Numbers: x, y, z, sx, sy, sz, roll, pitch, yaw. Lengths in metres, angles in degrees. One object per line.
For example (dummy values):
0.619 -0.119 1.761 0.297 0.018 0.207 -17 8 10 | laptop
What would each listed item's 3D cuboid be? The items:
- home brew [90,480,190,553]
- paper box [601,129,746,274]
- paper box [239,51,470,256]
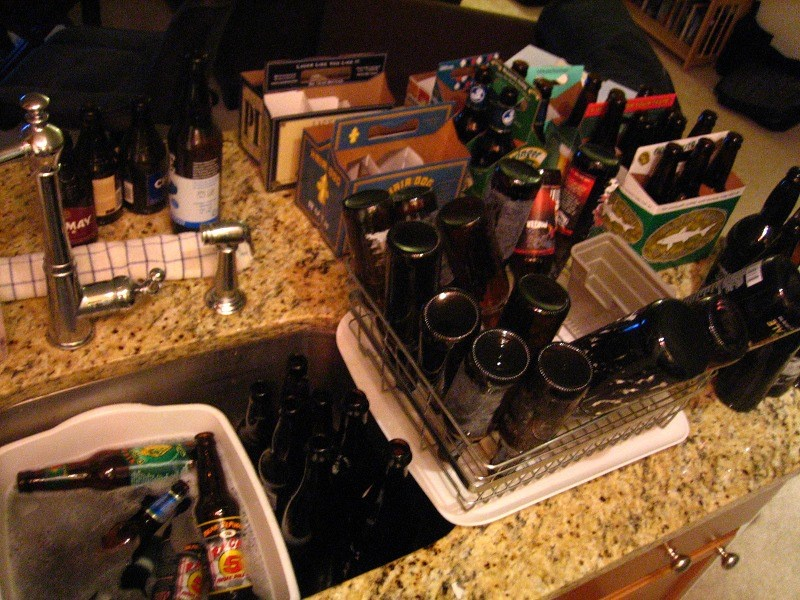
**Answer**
-0.509 0.424 1.201 0.127 0.041 0.041 -39 79 -16 | home brew
0.619 -0.229 1.423 0.268 0.263 0.147 -24 55 -23 | paper box
-0.122 -0.382 1.430 0.411 0.301 0.581 -11 56 -17 | paper box
